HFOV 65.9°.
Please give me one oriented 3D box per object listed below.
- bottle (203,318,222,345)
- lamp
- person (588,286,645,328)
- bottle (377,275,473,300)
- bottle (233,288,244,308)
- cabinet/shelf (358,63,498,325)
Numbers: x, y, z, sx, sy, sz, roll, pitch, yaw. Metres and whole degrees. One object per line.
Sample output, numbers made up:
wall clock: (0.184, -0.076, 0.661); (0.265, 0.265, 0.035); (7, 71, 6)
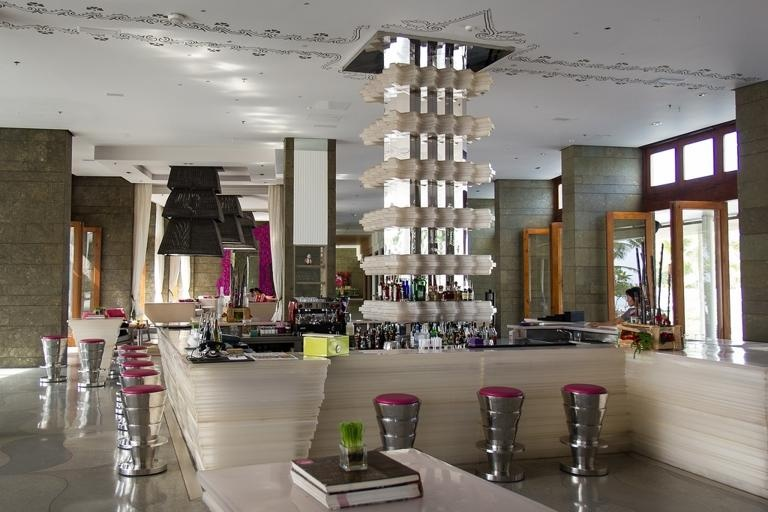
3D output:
bottle: (-1.711, 0.747, 5.915); (0.180, 0.237, 0.197); (0, -3, 0)
lamp: (-4.250, -1.120, 14.240); (3.028, 1.911, 0.917); (0, -11, -8)
person: (3.632, 0.835, 9.062); (0.510, 0.575, 1.157); (8, -10, -23)
bottle: (0.520, 0.401, 7.372); (1.149, 0.302, 0.327); (0, -3, -6)
bottle: (-2.766, 0.803, 11.295); (0.213, 0.351, 0.484); (0, -3, -14)
cabinet/shelf: (0.529, -0.871, 7.412); (1.667, 3.386, 0.716); (0, -3, -2)
